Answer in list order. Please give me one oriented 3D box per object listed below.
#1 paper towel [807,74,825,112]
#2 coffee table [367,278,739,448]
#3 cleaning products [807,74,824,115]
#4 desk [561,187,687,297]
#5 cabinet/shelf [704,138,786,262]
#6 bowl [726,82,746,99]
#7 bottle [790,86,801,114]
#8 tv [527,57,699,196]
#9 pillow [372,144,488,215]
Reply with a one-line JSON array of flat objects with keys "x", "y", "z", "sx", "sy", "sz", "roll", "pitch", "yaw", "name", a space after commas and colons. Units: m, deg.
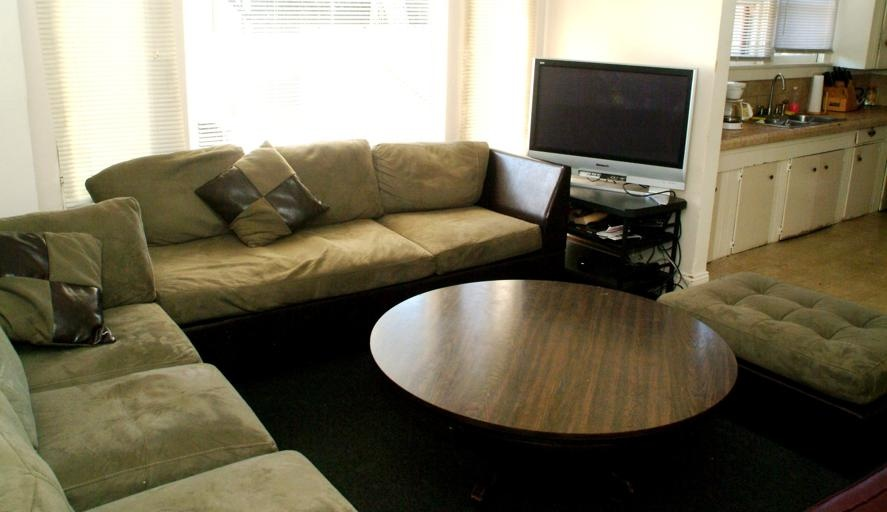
[{"x": 3.857, "y": -1.676, "z": 6.852, "sx": 0.154, "sy": 0.367, "sz": 0.148, "roll": 2, "pitch": 13, "yaw": 4, "name": "paper towel"}, {"x": 0.589, "y": 0.536, "z": 3.573, "sx": 1.900, "sy": 0.280, "sz": 1.157, "roll": 2, "pitch": 24, "yaw": 8, "name": "coffee table"}, {"x": 3.896, "y": -1.675, "z": 6.833, "sx": 0.160, "sy": 0.374, "sz": 0.143, "roll": -8, "pitch": 21, "yaw": -11, "name": "cleaning products"}, {"x": 1.421, "y": -0.122, "z": 5.051, "sx": 0.460, "sy": 0.555, "sz": 0.729, "roll": -17, "pitch": 28, "yaw": -32, "name": "desk"}, {"x": 2.539, "y": -0.498, "z": 5.589, "sx": 1.008, "sy": 0.844, "sz": 0.540, "roll": -8, "pitch": 20, "yaw": -23, "name": "cabinet/shelf"}, {"x": 2.534, "y": -1.430, "z": 5.733, "sx": 0.126, "sy": 0.155, "sz": 0.164, "roll": 8, "pitch": 26, "yaw": 19, "name": "bowl"}, {"x": 3.613, "y": -1.605, "z": 6.766, "sx": 0.115, "sy": 0.246, "sz": 0.370, "roll": 11, "pitch": 27, "yaw": 25, "name": "bottle"}, {"x": 1.371, "y": -1.007, "z": 5.135, "sx": 1.151, "sy": 0.725, "sz": 0.329, "roll": 12, "pitch": 25, "yaw": 27, "name": "tv"}, {"x": -0.116, "y": -0.661, "z": 5.324, "sx": 1.055, "sy": 0.528, "sz": 0.328, "roll": -9, "pitch": 20, "yaw": -31, "name": "pillow"}]
